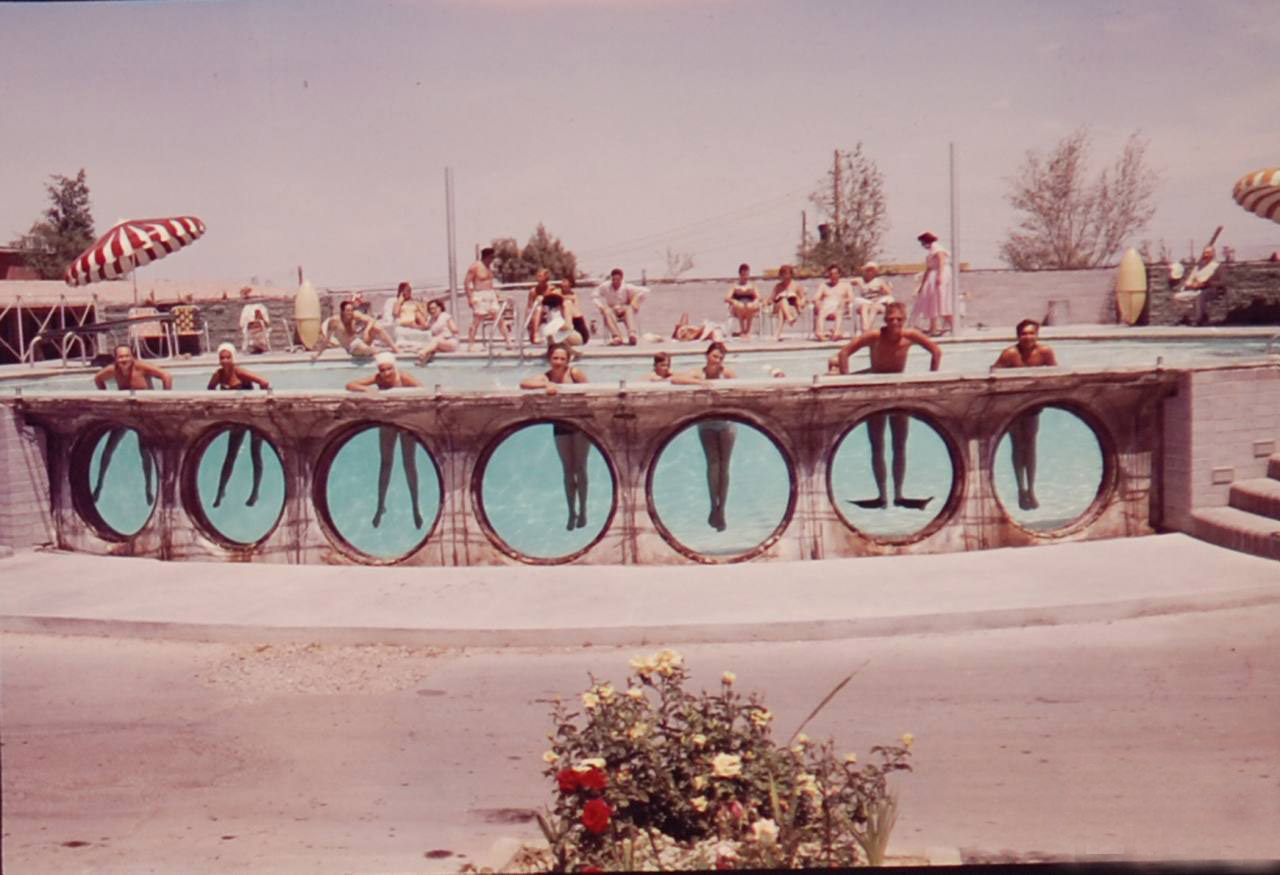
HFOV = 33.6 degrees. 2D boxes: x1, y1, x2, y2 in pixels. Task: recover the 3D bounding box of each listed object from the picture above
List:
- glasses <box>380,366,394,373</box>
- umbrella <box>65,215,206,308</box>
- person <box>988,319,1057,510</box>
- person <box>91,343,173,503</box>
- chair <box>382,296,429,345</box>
[{"bbox_3d":[-2.698,-0.696,22.365,0.166,0.062,0.075,-7,8,-40],"label":"glasses"},{"bbox_3d":[-5.602,-2.034,23.301,1.492,0.695,0.857,-3,7,-15],"label":"umbrella"},{"bbox_3d":[4.016,-0.211,22.164,0.596,1.989,1.184,0,7,11],"label":"person"},{"bbox_3d":[-5.708,-0.140,23.558,0.864,1.781,0.673,-2,-17,-1],"label":"person"},{"bbox_3d":[-3.378,-1.521,30.598,0.669,0.313,0.853,-1,48,-16],"label":"chair"}]
